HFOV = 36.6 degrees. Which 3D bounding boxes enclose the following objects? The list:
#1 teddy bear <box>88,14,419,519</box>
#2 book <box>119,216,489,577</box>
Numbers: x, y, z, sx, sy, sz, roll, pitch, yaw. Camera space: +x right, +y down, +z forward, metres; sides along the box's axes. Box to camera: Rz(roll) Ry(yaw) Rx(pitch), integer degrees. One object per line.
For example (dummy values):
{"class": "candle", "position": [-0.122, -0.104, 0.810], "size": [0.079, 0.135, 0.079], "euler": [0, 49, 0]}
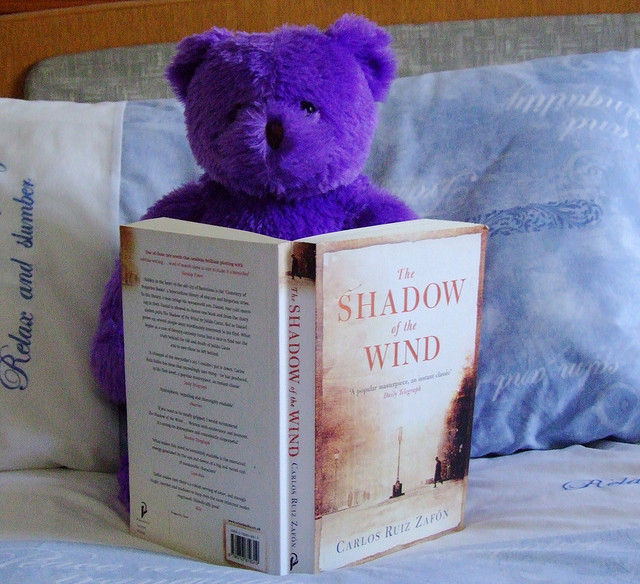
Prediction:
{"class": "teddy bear", "position": [-0.046, -0.033, 1.119], "size": [0.350, 0.552, 0.324], "euler": [-3, 15, -11]}
{"class": "book", "position": [-0.025, 0.108, 1.054], "size": [0.393, 0.351, 0.208], "euler": [2, 17, 10]}
